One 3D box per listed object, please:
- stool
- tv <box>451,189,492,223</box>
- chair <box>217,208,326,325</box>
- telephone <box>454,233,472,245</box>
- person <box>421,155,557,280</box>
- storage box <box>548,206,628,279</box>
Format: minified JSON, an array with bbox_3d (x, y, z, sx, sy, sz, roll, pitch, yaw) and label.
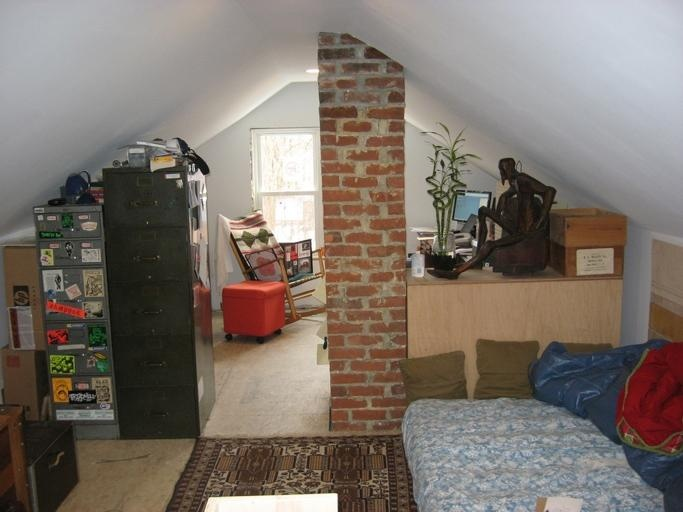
[{"bbox_3d":[-0.909,0.565,5.651,0.677,0.488,0.649,-4,5,-38],"label":"stool"},{"bbox_3d":[1.230,-0.480,5.277,0.480,0.314,0.057,-2,15,-37],"label":"tv"},{"bbox_3d":[-0.753,0.062,5.905,1.216,1.049,1.180,-6,9,-22],"label":"chair"},{"bbox_3d":[1.026,-0.142,4.579,0.125,0.075,0.122,0,3,-5],"label":"telephone"},{"bbox_3d":[0.953,-0.236,3.471,0.816,0.746,0.368,-4,13,16],"label":"person"},{"bbox_3d":[1.633,-0.054,3.473,0.540,0.332,0.378,2,7,-41],"label":"storage box"}]
